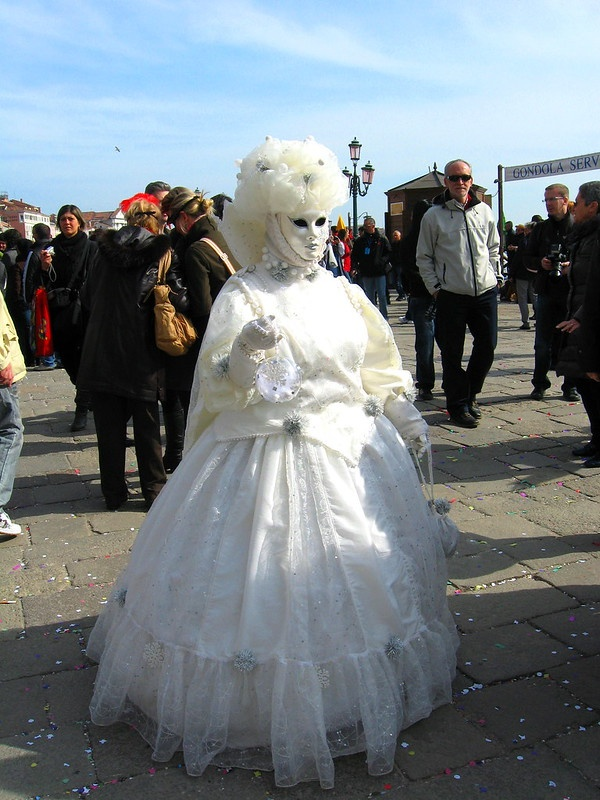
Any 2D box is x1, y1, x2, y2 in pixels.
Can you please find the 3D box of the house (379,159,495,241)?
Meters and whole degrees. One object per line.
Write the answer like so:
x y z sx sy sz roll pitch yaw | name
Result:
7.310 -10.167 38.574 5.388 3.922 5.218 -15 19 -40 | house

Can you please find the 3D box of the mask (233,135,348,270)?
-0.043 -0.623 2.291 0.407 0.367 0.392 17 17 38 | mask

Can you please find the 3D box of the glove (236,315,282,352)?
-0.112 -0.179 2.023 0.120 0.083 0.108 -18 24 35 | glove

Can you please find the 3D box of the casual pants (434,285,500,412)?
1.406 -0.438 5.841 0.499 0.399 1.149 -2 53 12 | casual pants
